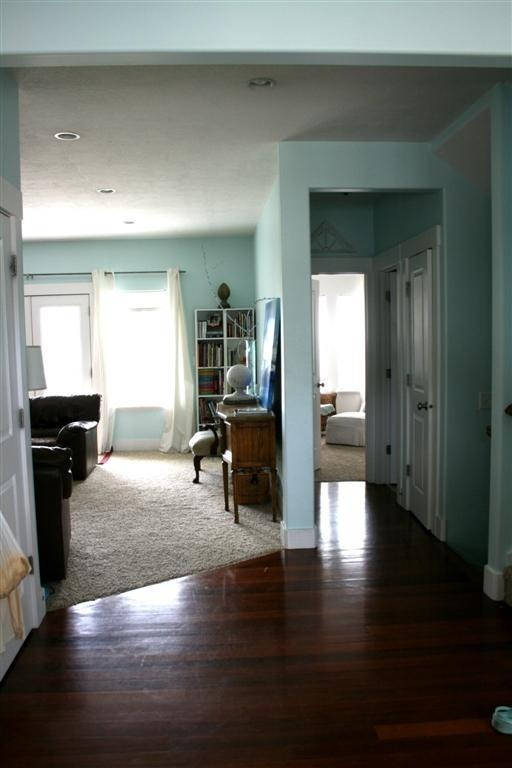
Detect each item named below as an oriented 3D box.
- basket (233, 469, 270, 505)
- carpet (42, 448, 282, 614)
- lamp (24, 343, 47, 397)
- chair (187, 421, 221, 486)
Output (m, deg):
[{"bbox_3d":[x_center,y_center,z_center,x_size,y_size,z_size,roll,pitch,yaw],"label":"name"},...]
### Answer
[{"bbox_3d":[-0.006,0.899,4.863,0.269,0.254,0.298,0,-2,-3],"label":"basket"},{"bbox_3d":[-0.782,1.059,4.775,1.549,0.050,3.239,-2,3,-16],"label":"carpet"},{"bbox_3d":[-1.855,-0.129,4.827,0.133,0.377,0.513,-2,3,-21],"label":"lamp"},{"bbox_3d":[-0.529,0.684,6.025,0.449,0.713,0.452,0,2,-5],"label":"chair"}]
